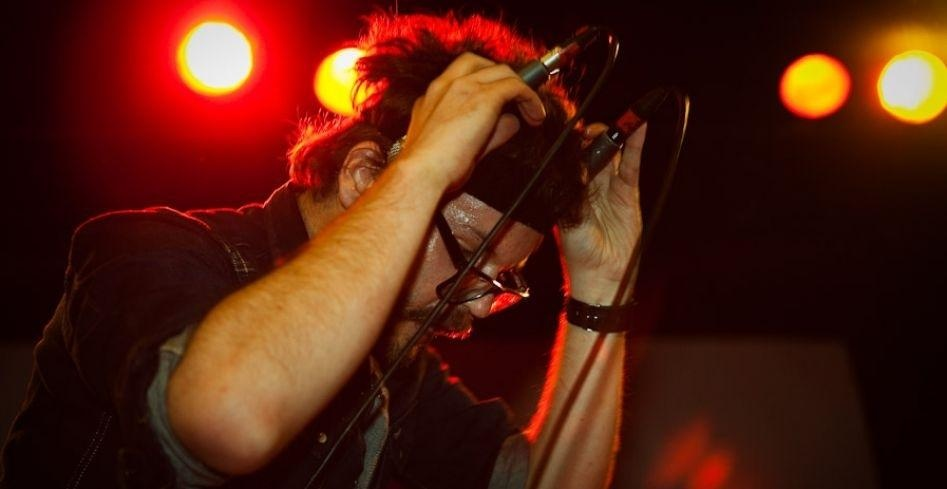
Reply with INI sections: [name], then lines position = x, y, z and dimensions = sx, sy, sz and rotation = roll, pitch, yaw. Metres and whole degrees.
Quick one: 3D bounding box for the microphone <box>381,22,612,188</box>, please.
[microphone]
position = 0.288, -0.700, 4.532
dimensions = 1.454, 0.294, 0.312
rotation = -45, -31, 11
